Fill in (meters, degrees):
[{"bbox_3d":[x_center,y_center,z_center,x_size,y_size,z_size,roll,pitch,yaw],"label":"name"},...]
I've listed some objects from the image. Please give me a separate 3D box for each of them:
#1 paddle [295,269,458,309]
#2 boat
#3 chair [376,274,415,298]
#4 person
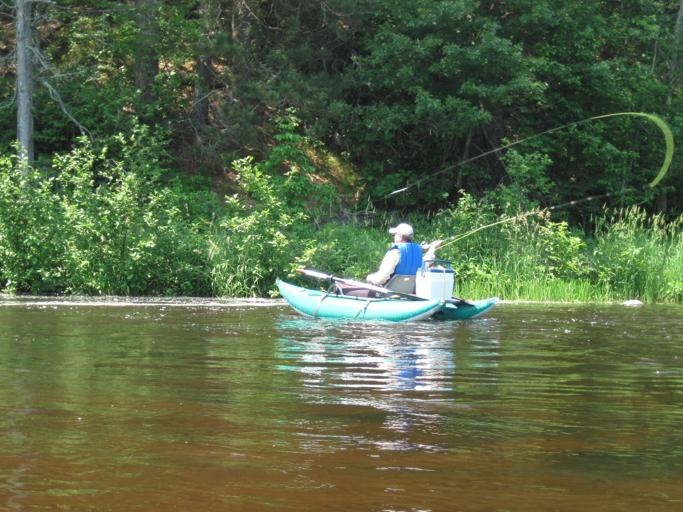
[{"bbox_3d":[0.562,0.241,19.690,2.967,0.220,0.987,11,-14,38],"label":"paddle"},{"bbox_3d":[0.949,0.901,20.593,3.000,0.545,2.105,0,-3,23],"label":"boat"},{"bbox_3d":[1.020,0.507,19.337,0.582,0.381,0.313,1,13,0],"label":"chair"},{"bbox_3d":[1.012,0.104,19.663,0.847,2.049,1.195,2,0,-38],"label":"person"}]
